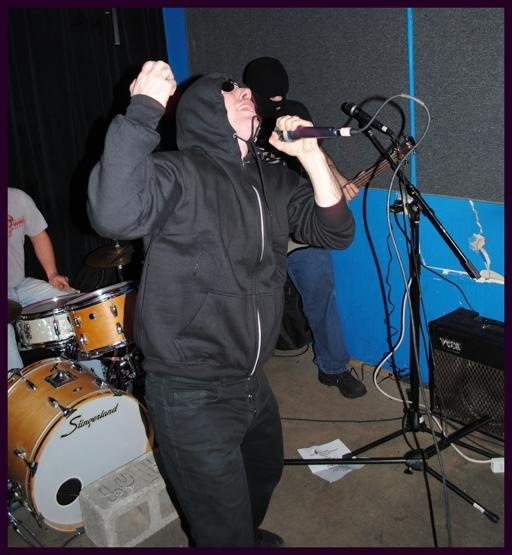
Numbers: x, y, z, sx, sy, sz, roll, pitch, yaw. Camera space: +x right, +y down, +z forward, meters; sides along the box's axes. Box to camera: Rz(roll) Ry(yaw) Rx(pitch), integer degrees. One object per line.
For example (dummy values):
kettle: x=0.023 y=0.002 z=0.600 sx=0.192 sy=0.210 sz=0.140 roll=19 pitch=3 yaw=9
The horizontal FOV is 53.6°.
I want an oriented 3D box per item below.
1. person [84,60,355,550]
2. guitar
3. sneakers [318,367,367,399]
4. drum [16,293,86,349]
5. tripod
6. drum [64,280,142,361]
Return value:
person: x=-0.038 y=0.165 z=1.474 sx=0.428 sy=1.486 sz=0.718 roll=6 pitch=24 yaw=31
guitar: x=0.442 y=-0.358 z=2.221 sx=0.689 sy=0.280 sz=0.092 roll=-40 pitch=-15 yaw=30
sneakers: x=0.514 y=0.620 z=3.024 sx=0.265 sy=0.118 sz=0.119 roll=13 pitch=18 yaw=36
drum: x=-1.052 y=0.239 z=2.699 sx=0.293 sy=0.192 sz=0.320 roll=-13 pitch=12 yaw=3
tripod: x=0.709 y=0.165 z=2.538 sx=1.208 sy=1.708 sz=1.202 roll=-4 pitch=16 yaw=15
drum: x=-0.782 y=0.222 z=2.577 sx=0.348 sy=0.265 sz=0.358 roll=-17 pitch=3 yaw=1
